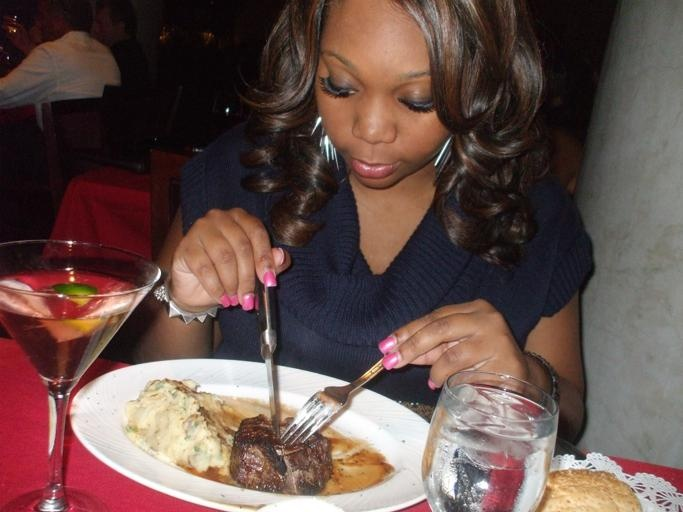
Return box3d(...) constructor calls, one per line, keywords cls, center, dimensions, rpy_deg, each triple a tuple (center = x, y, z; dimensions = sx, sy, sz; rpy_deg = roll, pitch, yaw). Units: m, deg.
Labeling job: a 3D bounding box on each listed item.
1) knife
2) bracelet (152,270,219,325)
box3d(cls="knife", center=(-0.239, 0.333, 1.916), dimensions=(0.034, 0.486, 0.038), rpy_deg=(-4, -5, 1))
box3d(cls="bracelet", center=(-0.649, 0.208, 2.271), dimensions=(0.203, 0.091, 0.239), rpy_deg=(8, 51, -10))
